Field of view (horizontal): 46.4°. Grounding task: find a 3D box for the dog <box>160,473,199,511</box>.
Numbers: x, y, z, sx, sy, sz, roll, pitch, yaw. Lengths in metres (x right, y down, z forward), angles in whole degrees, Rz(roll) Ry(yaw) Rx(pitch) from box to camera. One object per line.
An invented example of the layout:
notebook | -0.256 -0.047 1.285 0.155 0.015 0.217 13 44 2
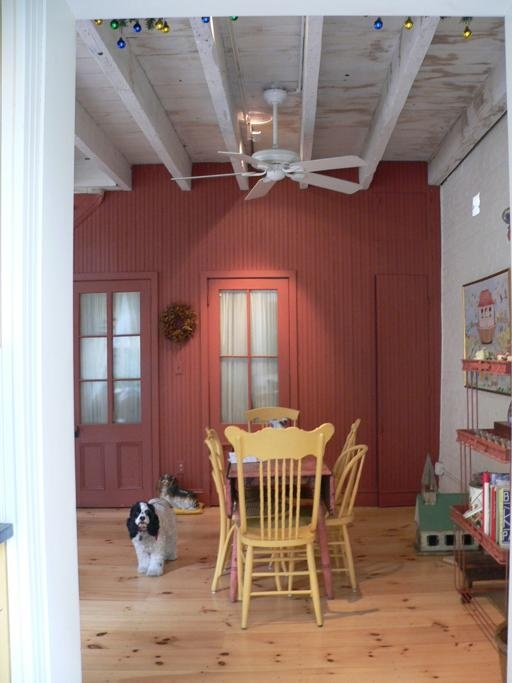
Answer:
dog | -0.643 1.239 4.896 0.377 0.390 0.267 4 -8 -13

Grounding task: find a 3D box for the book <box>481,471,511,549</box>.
book | 1.049 0.728 2.596 0.113 0.277 0.361 -1 0 18

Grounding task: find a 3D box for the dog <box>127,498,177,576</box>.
dog | -0.631 1.163 3.631 0.191 0.440 0.526 -2 0 8

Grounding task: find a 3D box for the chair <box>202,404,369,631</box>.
chair | 0.165 0.909 3.222 0.855 1.005 1.026 -1 0 -7

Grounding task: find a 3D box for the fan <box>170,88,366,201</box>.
fan | 0.139 -1.187 3.461 0.856 0.473 0.922 -1 7 29
